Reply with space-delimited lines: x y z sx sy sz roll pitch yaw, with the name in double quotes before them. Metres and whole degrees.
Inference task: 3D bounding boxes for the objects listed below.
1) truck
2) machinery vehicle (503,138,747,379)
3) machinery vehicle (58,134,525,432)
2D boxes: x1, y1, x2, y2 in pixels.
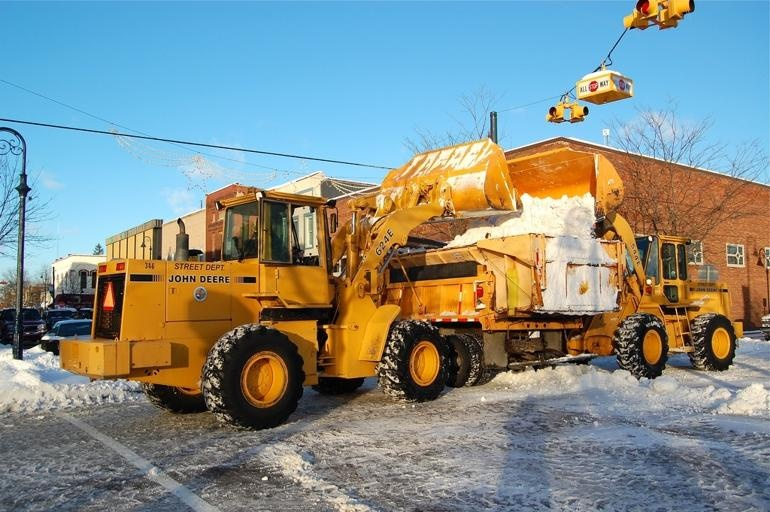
"truck" 3.397 1.094 13.783 4.345 2.266 3.446 3 -10 -33
"machinery vehicle" 5.994 0.345 15.186 6.644 5.008 2.550 4 -1 -26
"machinery vehicle" -1.267 0.813 14.031 10.468 6.610 4.024 7 -10 -38
